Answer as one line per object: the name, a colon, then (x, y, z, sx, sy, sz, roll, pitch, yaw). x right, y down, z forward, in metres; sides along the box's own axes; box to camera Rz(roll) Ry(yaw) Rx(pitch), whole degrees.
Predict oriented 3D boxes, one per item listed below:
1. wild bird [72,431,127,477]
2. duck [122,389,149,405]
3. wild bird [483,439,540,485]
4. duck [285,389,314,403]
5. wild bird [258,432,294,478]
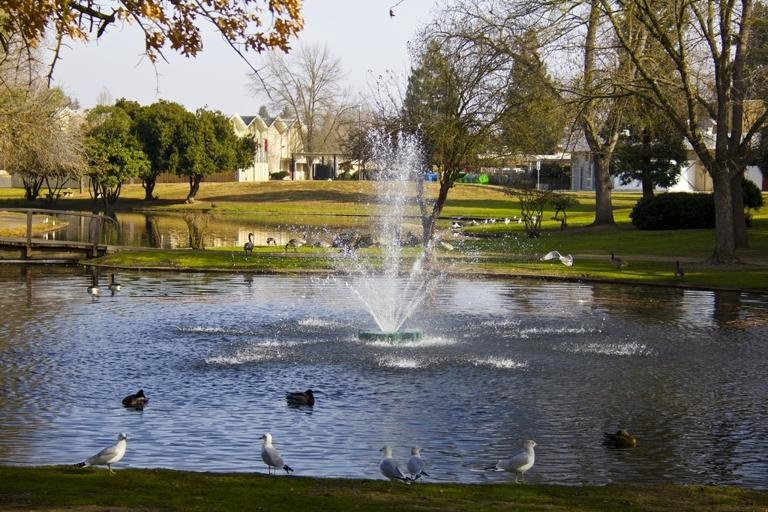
wild bird: (-6.850, 4.854, 29.565, 1.355, 0.987, 0.484, -5, 1, -2)
duck: (-6.777, 3.838, 33.204, 0.693, 0.422, 0.714, 1, 3, 3)
wild bird: (3.247, 5.033, 29.605, 1.858, 1.079, 0.895, 0, 0, -7)
duck: (-2.273, 3.823, 33.267, 0.660, 0.412, 0.357, -1, -1, 13)
wild bird: (-2.671, 4.837, 30.029, 0.732, 0.939, 1.407, 0, 3, -7)
